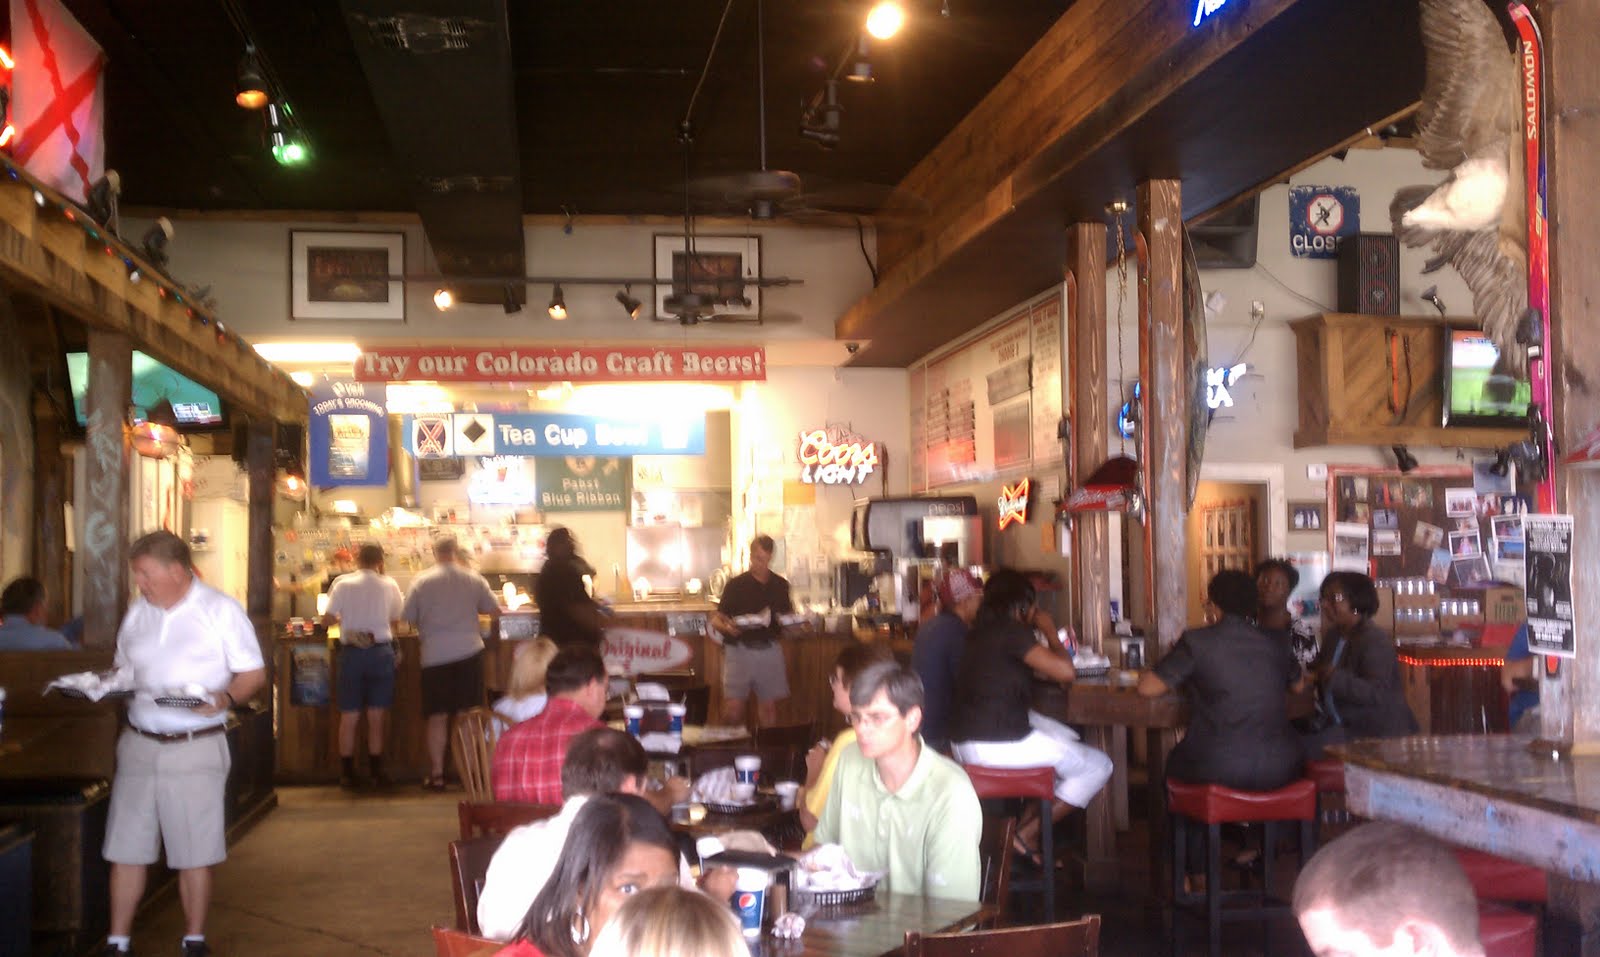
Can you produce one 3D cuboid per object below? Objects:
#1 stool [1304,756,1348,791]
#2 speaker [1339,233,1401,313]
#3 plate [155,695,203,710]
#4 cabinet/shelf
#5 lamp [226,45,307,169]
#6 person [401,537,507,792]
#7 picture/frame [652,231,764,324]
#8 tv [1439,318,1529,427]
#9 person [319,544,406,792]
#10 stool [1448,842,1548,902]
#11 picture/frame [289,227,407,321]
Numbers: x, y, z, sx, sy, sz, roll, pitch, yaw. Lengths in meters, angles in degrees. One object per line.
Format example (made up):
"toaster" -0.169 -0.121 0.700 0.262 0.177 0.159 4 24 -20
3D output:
"stool" 3.451 1.944 8.984 0.193 0.193 0.605 -3 -7 22
"speaker" 4.781 -1.712 11.517 0.410 0.660 0.374 0 0 -7
"plate" -3.701 1.337 8.175 0.272 0.087 0.119 -1 -7 8
"cabinet/shelf" 4.846 -0.793 11.293 1.585 1.072 0.333 1 -7 -8
"lamp" -4.070 -2.797 10.539 0.443 0.853 2.304 2 -7 -19
"person" -3.121 1.663 12.423 0.847 2.262 0.686 -2 -1 -5
"picture/frame" -0.949 -2.031 13.930 1.120 0.876 0.125 1 16 9
"tv" 5.024 -0.770 10.092 0.507 0.955 0.412 2 -9 3
"person" -3.951 1.680 12.389 0.632 2.190 0.579 2 -7 -18
"stool" 3.425 1.945 6.702 0.369 0.269 0.264 -3 -7 22
"picture/frame" -4.532 -2.033 13.573 0.983 0.795 0.079 0 0 -1
